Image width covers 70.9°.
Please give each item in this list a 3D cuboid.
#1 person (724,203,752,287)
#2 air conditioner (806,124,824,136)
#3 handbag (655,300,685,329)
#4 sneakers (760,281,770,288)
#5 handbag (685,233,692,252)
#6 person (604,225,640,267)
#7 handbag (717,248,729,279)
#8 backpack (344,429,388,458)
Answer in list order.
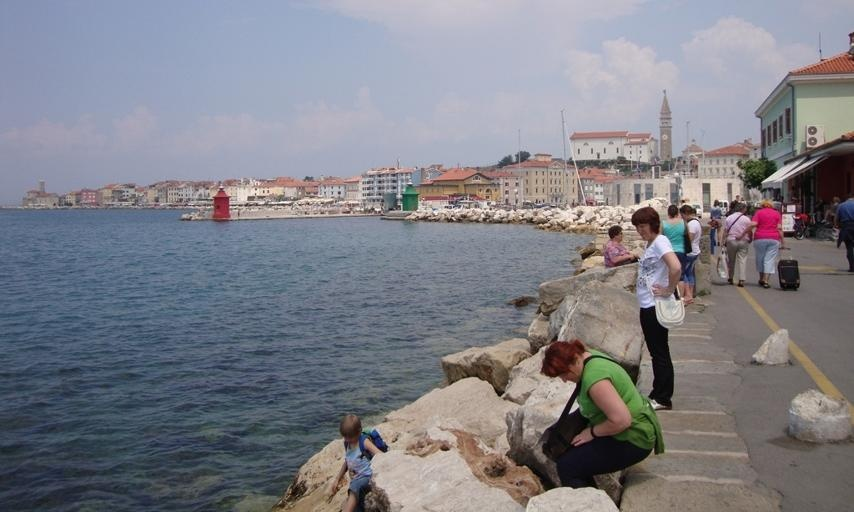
[{"bbox_3d":[8.677,-0.267,16.883,0.708,2.302,1.625,4,13,28],"label":"person"},{"bbox_3d":[21.529,-6.871,33.333,0.831,0.691,0.421,3,0,13],"label":"air conditioner"},{"bbox_3d":[3.616,0.847,8.979,0.417,0.456,0.261,1,12,12],"label":"handbag"},{"bbox_3d":[9.360,0.787,16.631,0.147,0.143,0.368,-1,14,21],"label":"sneakers"},{"bbox_3d":[5.536,-0.255,12.787,0.093,0.370,0.294,2,12,16],"label":"handbag"},{"bbox_3d":[4.368,-0.215,13.580,0.766,0.843,1.008,4,18,19],"label":"person"},{"bbox_3d":[8.921,0.271,18.102,0.364,0.894,0.851,-5,9,20],"label":"handbag"},{"bbox_3d":[-0.929,2.763,9.014,0.423,0.485,0.580,3,-13,35],"label":"backpack"}]
